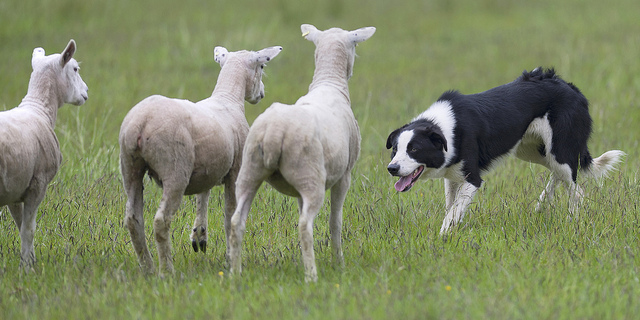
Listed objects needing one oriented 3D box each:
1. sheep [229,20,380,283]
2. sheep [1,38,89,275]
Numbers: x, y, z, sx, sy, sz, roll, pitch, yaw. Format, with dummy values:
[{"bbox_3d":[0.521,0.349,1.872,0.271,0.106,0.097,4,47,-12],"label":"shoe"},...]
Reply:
[{"bbox_3d":[-0.219,-0.130,12.200,1.505,3.995,2.570,13,20,31],"label":"sheep"},{"bbox_3d":[-5.013,-0.116,12.551,0.891,3.868,1.738,8,18,16],"label":"sheep"}]
